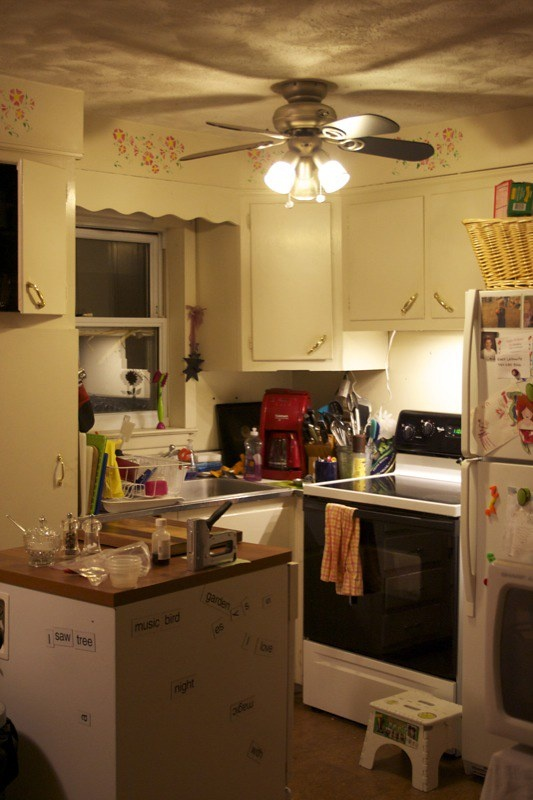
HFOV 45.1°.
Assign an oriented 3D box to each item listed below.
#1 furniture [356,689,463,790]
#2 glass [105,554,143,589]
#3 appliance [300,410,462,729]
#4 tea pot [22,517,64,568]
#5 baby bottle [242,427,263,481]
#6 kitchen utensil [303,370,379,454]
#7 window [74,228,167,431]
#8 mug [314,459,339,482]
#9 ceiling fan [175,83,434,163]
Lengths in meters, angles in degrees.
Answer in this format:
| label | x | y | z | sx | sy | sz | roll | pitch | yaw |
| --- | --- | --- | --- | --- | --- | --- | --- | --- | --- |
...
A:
| label | x | y | z | sx | sy | sz | roll | pitch | yaw |
| --- | --- | --- | --- | --- | --- | --- | --- | --- | --- |
| furniture | 0.503 | 1.144 | 2.255 | 0.302 | 0.228 | 0.303 | 6 | 9 | 43 |
| glass | -0.280 | 0.329 | 1.240 | 0.058 | 0.042 | 0.057 | -2 | 4 | -7 |
| appliance | 0.553 | 0.718 | 2.799 | 0.746 | 1.247 | 0.760 | 2 | 6 | 31 |
| tea pot | -0.516 | 0.322 | 1.512 | 0.105 | 0.138 | 0.099 | 0 | 2 | 0 |
| baby bottle | -0.072 | 0.276 | 3.339 | 0.093 | 0.242 | 0.245 | -1 | 5 | -1 |
| kitchen utensil | 0.359 | 0.090 | 3.282 | 0.232 | 0.417 | 0.176 | -9 | -40 | 17 |
| window | -0.789 | -0.399 | 3.334 | 0.581 | 1.042 | 0.129 | -2 | -1 | -34 |
| mug | 0.278 | 0.333 | 3.004 | 0.098 | 0.108 | 0.102 | 3 | -6 | -35 |
| ceiling fan | 0.143 | -1.034 | 2.353 | 0.509 | 0.135 | 0.511 | 2 | 3 | 35 |
